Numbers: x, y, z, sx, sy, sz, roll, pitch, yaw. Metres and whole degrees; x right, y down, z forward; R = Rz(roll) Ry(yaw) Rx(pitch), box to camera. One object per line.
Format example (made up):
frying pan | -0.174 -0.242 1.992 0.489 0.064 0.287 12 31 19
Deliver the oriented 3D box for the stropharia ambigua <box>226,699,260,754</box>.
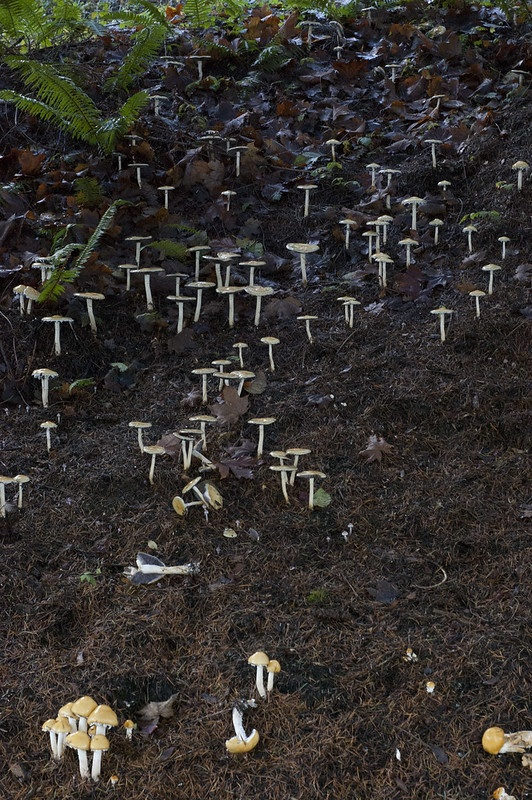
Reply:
stropharia ambigua | -0.151 2.293 6.928 0.220 0.266 0.339 -4 15 15

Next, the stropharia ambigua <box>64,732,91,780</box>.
stropharia ambigua | -1.247 2.412 6.775 0.164 0.327 0.200 -13 16 -13

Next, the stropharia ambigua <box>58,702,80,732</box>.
stropharia ambigua | -1.345 2.190 6.824 0.114 0.174 0.131 -12 16 -13
